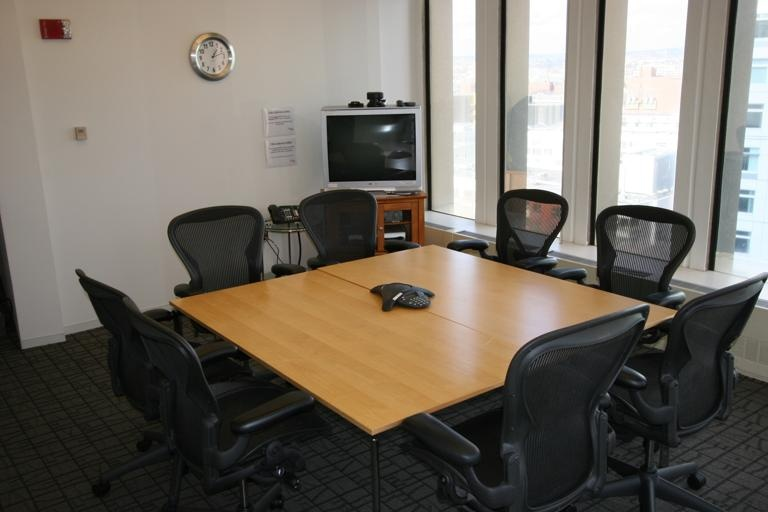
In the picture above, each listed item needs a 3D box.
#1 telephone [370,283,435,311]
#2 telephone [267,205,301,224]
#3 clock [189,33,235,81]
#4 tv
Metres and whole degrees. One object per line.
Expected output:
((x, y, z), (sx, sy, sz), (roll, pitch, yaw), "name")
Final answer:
((0.100, 0.281, 4.003), (0.479, 0.087, 0.336), (2, 20, 11), "telephone")
((-1.097, -0.480, 6.194), (0.315, 0.088, 0.303), (-6, 29, -23), "telephone")
((-1.826, -2.142, 5.984), (0.483, 0.464, 0.066), (-15, 32, -36), "clock")
((-0.110, -1.032, 6.887), (1.548, 1.221, 0.902), (-1, 4, -4), "tv")
